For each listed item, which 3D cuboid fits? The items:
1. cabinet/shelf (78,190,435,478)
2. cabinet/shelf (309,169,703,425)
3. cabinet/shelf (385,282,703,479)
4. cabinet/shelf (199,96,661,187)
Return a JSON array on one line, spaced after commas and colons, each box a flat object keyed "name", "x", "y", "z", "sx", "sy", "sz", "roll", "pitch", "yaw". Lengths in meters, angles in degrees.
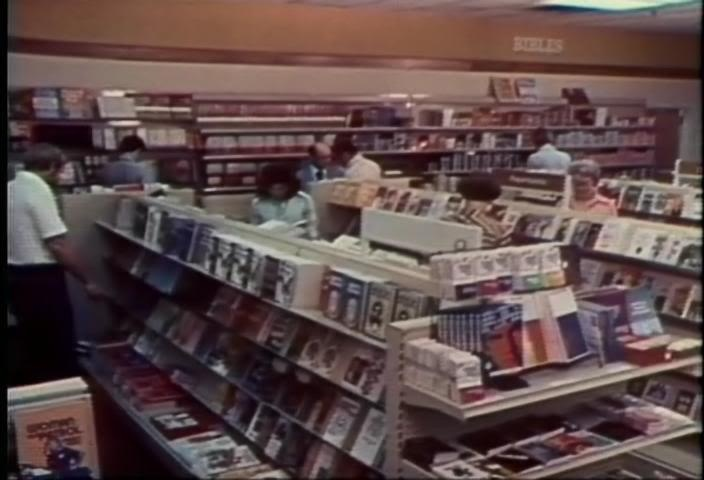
[{"name": "cabinet/shelf", "x": -0.519, "y": 0.491, "z": 2.827, "sx": 1.772, "sy": 0.556, "sz": 0.250, "roll": 20, "pitch": 23, "yaw": 38}, {"name": "cabinet/shelf", "x": 0.907, "y": 0.384, "z": 2.627, "sx": 1.577, "sy": 0.341, "sz": 1.668, "roll": -6, "pitch": 11, "yaw": -43}, {"name": "cabinet/shelf", "x": 0.953, "y": 0.705, "z": 2.643, "sx": 1.442, "sy": 0.617, "sz": 0.523, "roll": -3, "pitch": 6, "yaw": -30}, {"name": "cabinet/shelf", "x": 0.480, "y": -0.554, "z": 2.914, "sx": 2.653, "sy": 0.452, "sz": 0.173, "roll": -3, "pitch": 9, "yaw": -11}]
